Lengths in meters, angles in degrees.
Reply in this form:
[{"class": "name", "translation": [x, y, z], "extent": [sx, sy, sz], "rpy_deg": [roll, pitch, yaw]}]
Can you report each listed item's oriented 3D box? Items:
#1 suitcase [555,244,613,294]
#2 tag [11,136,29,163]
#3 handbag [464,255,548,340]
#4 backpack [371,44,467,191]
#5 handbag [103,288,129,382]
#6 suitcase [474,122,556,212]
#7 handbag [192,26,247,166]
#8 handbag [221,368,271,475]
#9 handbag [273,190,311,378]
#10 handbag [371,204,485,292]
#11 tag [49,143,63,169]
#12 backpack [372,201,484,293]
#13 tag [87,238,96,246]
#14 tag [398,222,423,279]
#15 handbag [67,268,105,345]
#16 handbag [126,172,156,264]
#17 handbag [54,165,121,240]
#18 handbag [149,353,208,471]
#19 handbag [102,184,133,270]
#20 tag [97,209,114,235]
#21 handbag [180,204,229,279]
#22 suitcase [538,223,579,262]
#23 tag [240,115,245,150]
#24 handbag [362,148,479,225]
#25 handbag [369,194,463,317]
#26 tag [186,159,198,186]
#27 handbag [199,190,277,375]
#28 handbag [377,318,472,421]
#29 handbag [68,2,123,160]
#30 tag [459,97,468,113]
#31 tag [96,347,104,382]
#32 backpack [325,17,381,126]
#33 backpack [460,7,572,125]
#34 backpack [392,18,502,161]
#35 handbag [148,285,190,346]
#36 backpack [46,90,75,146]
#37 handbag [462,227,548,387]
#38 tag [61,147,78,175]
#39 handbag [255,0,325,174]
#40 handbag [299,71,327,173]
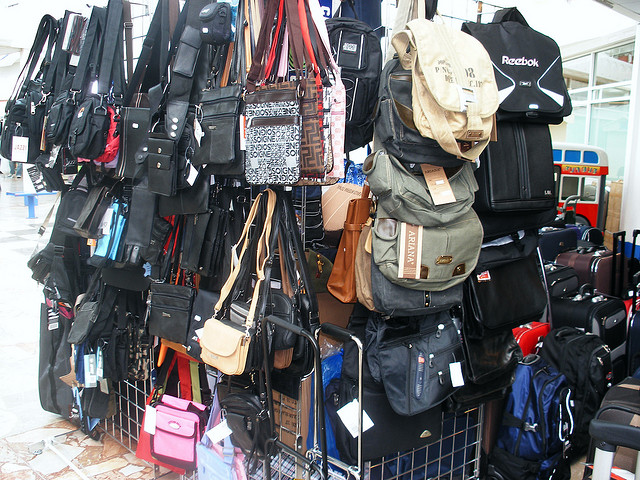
[{"class": "suitcase", "translation": [2.730, 0.229, 5.136], "extent": [0.441, 0.673, 0.621], "rpy_deg": [7, 10, 39]}, {"class": "tag", "translation": [-2.088, -0.639, 3.483], "extent": [0.116, 0.173, 0.041], "rpy_deg": [0, 6, -5]}, {"class": "handbag", "translation": [1.067, 0.320, 2.911], "extent": [0.504, 0.499, 0.160], "rpy_deg": [-13, 3, -34]}, {"class": "backpack", "translation": [0.427, -0.603, 2.535], "extent": [0.465, 0.716, 0.673], "rpy_deg": [-9, 12, -19]}, {"class": "handbag", "translation": [-1.401, 0.670, 3.414], "extent": [0.170, 0.658, 0.139], "rpy_deg": [-3, 6, -27]}, {"class": "suitcase", "translation": [1.231, -0.544, 2.957], "extent": [0.437, 0.626, 0.407], "rpy_deg": [-4, 25, 27]}, {"class": "handbag", "translation": [-0.552, -0.780, 2.755], "extent": [0.369, 0.727, 0.132], "rpy_deg": [4, 7, 34]}, {"class": "handbag", "translation": [-0.394, 0.930, 2.662], "extent": [0.319, 0.574, 0.134], "rpy_deg": [6, 8, 44]}, {"class": "handbag", "translation": [-0.182, 0.230, 2.619], "extent": [0.318, 0.917, 0.089], "rpy_deg": [6, 19, 21]}, {"class": "handbag", "translation": [0.579, -0.007, 2.633], "extent": [0.506, 0.573, 0.308], "rpy_deg": [1, 1, -15]}, {"class": "tag", "translation": [-1.780, -0.572, 3.356], "extent": [0.070, 0.154, 0.206], "rpy_deg": [-5, 8, -41]}, {"class": "backpack", "translation": [0.577, -0.025, 2.600], "extent": [0.514, 0.560, 0.321], "rpy_deg": [-3, 18, -12]}, {"class": "tag", "translation": [-1.612, 0.012, 3.515], "extent": [0.070, 0.062, 0.074], "rpy_deg": [2, 3, -17]}, {"class": "tag", "translation": [0.448, 0.053, 2.466], "extent": [0.112, 0.267, 0.073], "rpy_deg": [1, 6, 11]}, {"class": "handbag", "translation": [-1.590, 0.452, 3.413], "extent": [0.197, 0.500, 0.214], "rpy_deg": [2, 6, 20]}, {"class": "handbag", "translation": [-1.130, -0.128, 3.139], "extent": [0.162, 0.603, 0.055], "rpy_deg": [16, -34, -38]}, {"class": "handbag", "translation": [-1.579, -0.249, 3.413], "extent": [0.231, 0.374, 0.333], "rpy_deg": [25, 19, 14]}, {"class": "handbag", "translation": [-0.850, 1.087, 3.178], "extent": [0.344, 0.696, 0.361], "rpy_deg": [5, 5, 9]}, {"class": "handbag", "translation": [-1.348, -0.098, 3.344], "extent": [0.102, 0.483, 0.318], "rpy_deg": [5, 3, -39]}, {"class": "tag", "translation": [-1.424, -0.120, 3.319], "extent": [0.097, 0.160, 0.046], "rpy_deg": [3, 6, 22]}, {"class": "handbag", "translation": [-0.685, 0.019, 3.032], "extent": [0.265, 0.425, 0.117], "rpy_deg": [12, 3, 26]}, {"class": "suitcase", "translation": [2.664, 0.144, 5.715], "extent": [0.196, 0.548, 0.563], "rpy_deg": [-8, -5, 6]}, {"class": "tag", "translation": [-0.411, -0.576, 2.647], "extent": [0.023, 0.276, 0.139], "rpy_deg": [-1, 10, -14]}, {"class": "handbag", "translation": [0.538, -0.272, 2.559], "extent": [0.622, 0.368, 0.209], "rpy_deg": [-2, 6, -17]}, {"class": "handbag", "translation": [0.477, 0.061, 2.505], "extent": [0.490, 0.797, 0.376], "rpy_deg": [-2, 6, -20]}, {"class": "tag", "translation": [-0.732, -0.379, 2.867], "extent": [0.064, 0.100, 0.024], "rpy_deg": [10, 1, 40]}, {"class": "handbag", "translation": [-0.415, 0.197, 2.593], "extent": [0.328, 0.911, 0.323], "rpy_deg": [5, 7, 38]}, {"class": "handbag", "translation": [0.546, 0.687, 2.657], "extent": [0.459, 0.535, 0.167], "rpy_deg": [-12, 2, -25]}, {"class": "handbag", "translation": [-1.426, -1.034, 3.175], "extent": [0.208, 1.025, 0.366], "rpy_deg": [1, 6, 7]}, {"class": "tag", "translation": [0.679, -0.644, 2.367], "extent": [0.040, 0.066, 0.018], "rpy_deg": [1, -5, -9]}, {"class": "tag", "translation": [-1.494, 0.860, 3.394], "extent": [0.066, 0.244, 0.036], "rpy_deg": [5, 7, 41]}, {"class": "backpack", "translation": [0.178, -0.971, 2.829], "extent": [0.354, 0.574, 0.308], "rpy_deg": [12, 38, 14]}, {"class": "backpack", "translation": [1.155, -0.955, 2.858], "extent": [0.482, 0.743, 0.238], "rpy_deg": [-1, -4, -12]}, {"class": "backpack", "translation": [0.684, -0.760, 2.584], "extent": [0.614, 0.707, 0.372], "rpy_deg": [-2, 4, -35]}, {"class": "handbag", "translation": [-0.916, 0.456, 3.056], "extent": [0.330, 0.439, 0.076], "rpy_deg": [0, -7, 32]}, {"class": "backpack", "translation": [-1.693, -0.773, 3.235], "extent": [0.104, 0.332, 0.206], "rpy_deg": [10, -11, -36]}, {"class": "handbag", "translation": [1.085, 0.361, 3.042], "extent": [0.532, 0.834, 0.346], "rpy_deg": [-8, 17, -15]}, {"class": "tag", "translation": [-1.789, -0.574, 3.557], "extent": [0.022, 0.254, 0.134], "rpy_deg": [16, 21, 32]}, {"class": "handbag", "translation": [-0.151, -0.767, 2.500], "extent": [0.375, 0.859, 0.171], "rpy_deg": [1, 6, 8]}, {"class": "handbag", "translation": [-0.030, -0.561, 2.438], "extent": [0.129, 0.456, 0.064], "rpy_deg": [0, 5, -4]}]
